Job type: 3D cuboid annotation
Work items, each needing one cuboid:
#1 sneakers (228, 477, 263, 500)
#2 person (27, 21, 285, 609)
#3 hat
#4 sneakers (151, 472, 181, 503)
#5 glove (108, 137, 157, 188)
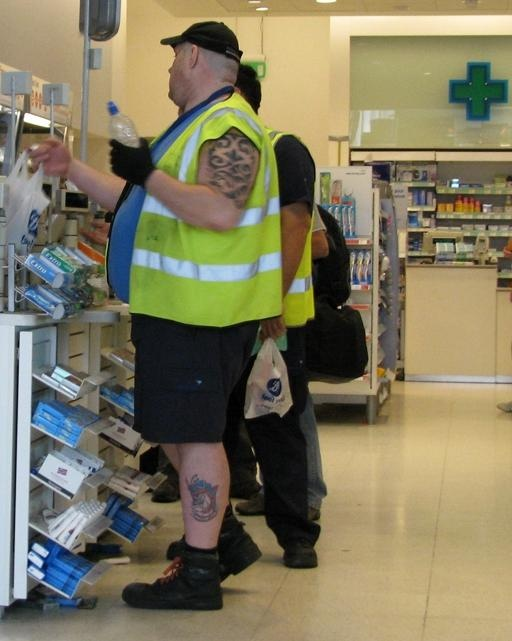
[{"bbox_3d":[-0.049,0.790,2.955,0.195,0.129,0.064,-2,10,-2],"label":"sneakers"},{"bbox_3d":[-0.178,-0.003,1.617,0.529,1.521,0.637,-2,-5,41],"label":"person"},{"bbox_3d":[-0.144,-0.702,1.574,0.174,0.069,0.108,11,20,2],"label":"hat"},{"bbox_3d":[-0.411,0.793,2.964,0.110,0.130,0.317,-3,-12,7],"label":"sneakers"},{"bbox_3d":[-0.272,-0.353,1.372,0.097,0.113,0.069,2,-4,-11],"label":"glove"}]
